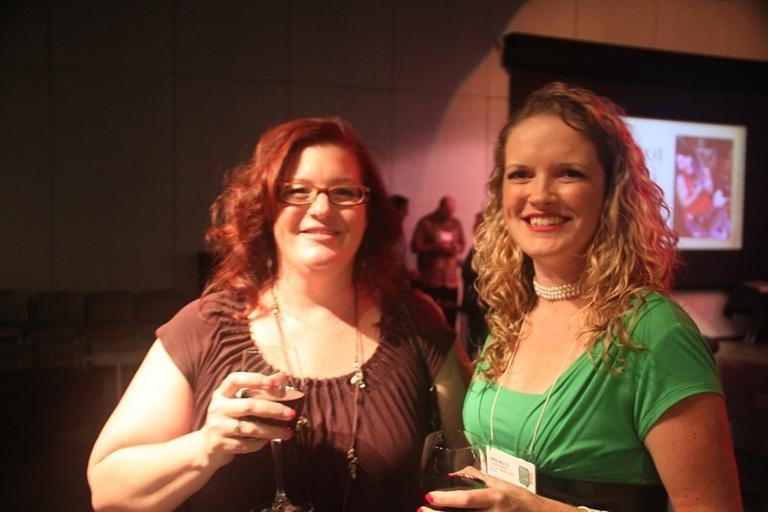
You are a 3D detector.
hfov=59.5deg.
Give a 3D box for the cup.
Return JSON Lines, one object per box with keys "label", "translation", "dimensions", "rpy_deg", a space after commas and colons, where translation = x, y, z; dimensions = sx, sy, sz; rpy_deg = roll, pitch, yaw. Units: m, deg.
{"label": "cup", "translation": [0.284, 0.949, 3.032], "dimensions": [0.310, 0.290, 0.305], "rpy_deg": [-1, -11, 0]}
